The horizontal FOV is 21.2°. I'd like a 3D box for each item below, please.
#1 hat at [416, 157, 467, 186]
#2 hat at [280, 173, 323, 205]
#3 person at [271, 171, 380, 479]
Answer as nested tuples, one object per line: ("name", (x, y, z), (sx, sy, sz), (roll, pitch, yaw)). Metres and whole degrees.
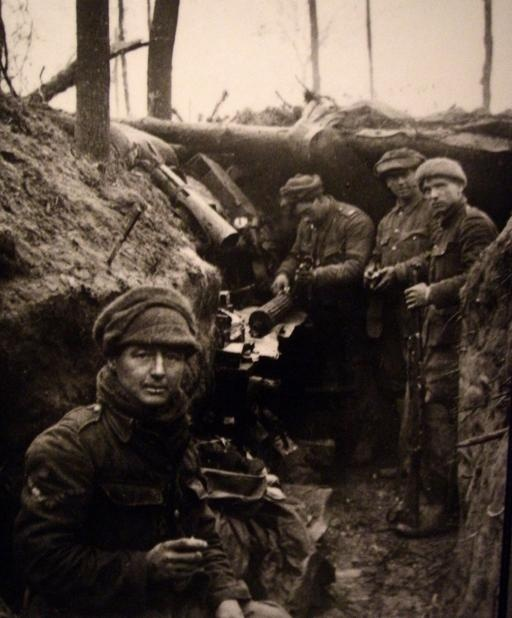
("hat", (0.904, -0.679, 6.752), (0.147, 0.102, 0.170), (8, -8, 33))
("hat", (0.228, -0.586, 6.693), (0.127, 0.080, 0.175), (-14, 8, -4))
("person", (0.336, 0.055, 6.702), (0.481, 1.388, 0.198), (4, -11, -24))
